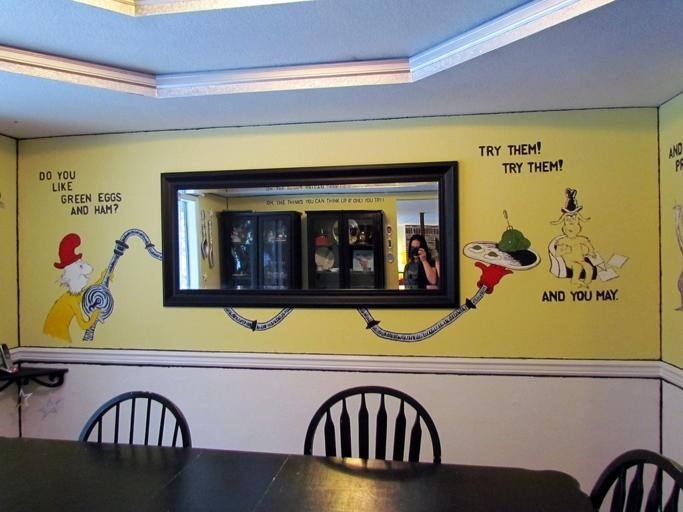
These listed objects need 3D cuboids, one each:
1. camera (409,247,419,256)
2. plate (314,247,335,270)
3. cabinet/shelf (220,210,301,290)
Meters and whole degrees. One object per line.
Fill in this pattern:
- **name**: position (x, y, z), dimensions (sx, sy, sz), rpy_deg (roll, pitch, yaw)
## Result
- **camera**: position (0.517, -0.039, 4.066), dimensions (0.058, 0.042, 0.057), rpy_deg (3, 17, 31)
- **plate**: position (-0.160, 0.019, 5.106), dimensions (0.186, 0.191, 0.045), rpy_deg (-2, 0, 8)
- **cabinet/shelf**: position (-0.728, -0.043, 5.298), dimensions (0.656, 0.800, 0.255), rpy_deg (-2, -8, 13)
